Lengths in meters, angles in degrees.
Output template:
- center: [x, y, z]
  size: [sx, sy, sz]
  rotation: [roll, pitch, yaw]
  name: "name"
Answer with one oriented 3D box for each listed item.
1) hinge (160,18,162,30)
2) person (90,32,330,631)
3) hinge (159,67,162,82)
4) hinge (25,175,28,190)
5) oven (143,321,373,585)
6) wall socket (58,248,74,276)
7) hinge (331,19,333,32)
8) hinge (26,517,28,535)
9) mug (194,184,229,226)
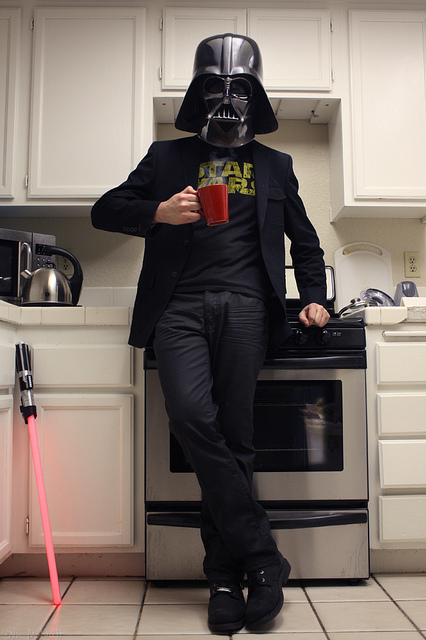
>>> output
- center: [-0.198, -1.116, 2.393]
  size: [0.004, 0.045, 0.012]
  rotation: [-1, 3, -34]
  name: "hinge"
- center: [-0.009, -0.013, 1.672]
  size: [0.526, 1.437, 0.463]
  rotation: [2, 3, 26]
  name: "person"
- center: [-0.199, -0.921, 2.380]
  size: [0.006, 0.054, 0.014]
  rotation: [0, 2, -15]
  name: "hinge"
- center: [-0.690, -0.506, 2.343]
  size: [0.005, 0.048, 0.020]
  rotation: [-1, 3, -39]
  name: "hinge"
- center: [0.094, 0.363, 2.003]
  size: [0.655, 0.796, 0.557]
  rotation: [1, -2, -8]
  name: "oven"
- center: [-0.604, -0.223, 2.602]
  size: [0.052, 0.079, 0.127]
  rotation: [0, 3, -18]
  name: "wall socket"
- center: [0.451, -1.115, 2.413]
  size: [0.009, 0.042, 0.005]
  rotation: [-1, 3, -43]
  name: "hinge"
- center: [-0.523, 0.576, 1.781]
  size: [0.004, 0.044, 0.010]
  rotation: [0, 3, -27]
  name: "hinge"
- center: [-0.004, -0.257, 1.419]
  size: [0.063, 0.089, 0.099]
  rotation: [0, 2, -9]
  name: "mug"
